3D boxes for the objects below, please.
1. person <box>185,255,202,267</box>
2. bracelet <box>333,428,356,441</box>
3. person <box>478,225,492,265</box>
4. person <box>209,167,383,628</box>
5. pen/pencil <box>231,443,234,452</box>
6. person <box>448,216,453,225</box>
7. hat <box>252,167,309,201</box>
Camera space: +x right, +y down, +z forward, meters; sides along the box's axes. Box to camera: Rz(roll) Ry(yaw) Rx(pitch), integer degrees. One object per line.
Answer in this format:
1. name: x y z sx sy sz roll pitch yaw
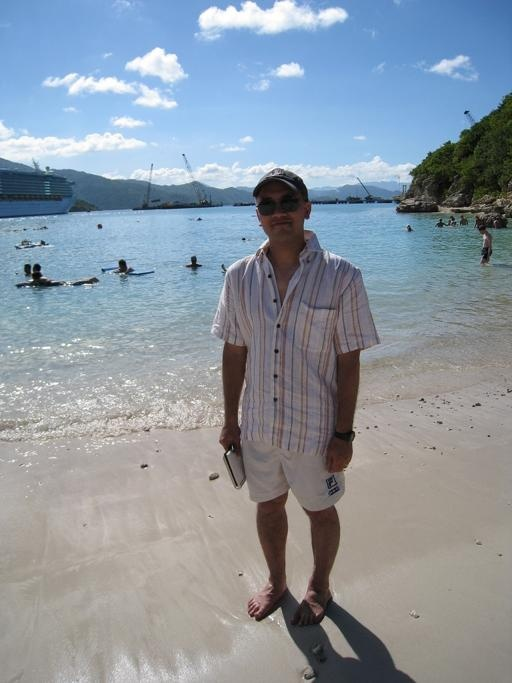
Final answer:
1. person: -2.945 -3.750 22.935 0.748 0.586 1.522 -3 7 -10
2. bracelet: 0.407 0.421 2.178 0.063 0.064 0.062 -10 30 -12
3. person: 9.044 -3.796 18.936 0.367 1.540 2.095 1 7 25
4. person: 0.147 0.314 2.299 0.804 2.219 0.402 3 8 35
5. pen/pencil: -0.117 0.520 2.380 0.021 0.024 0.021 0 2 9
6. person: 18.036 -11.046 44.427 0.511 0.932 2.452 1 7 22
7. hat: 0.114 -0.719 2.206 0.257 0.144 0.148 -2 7 0
